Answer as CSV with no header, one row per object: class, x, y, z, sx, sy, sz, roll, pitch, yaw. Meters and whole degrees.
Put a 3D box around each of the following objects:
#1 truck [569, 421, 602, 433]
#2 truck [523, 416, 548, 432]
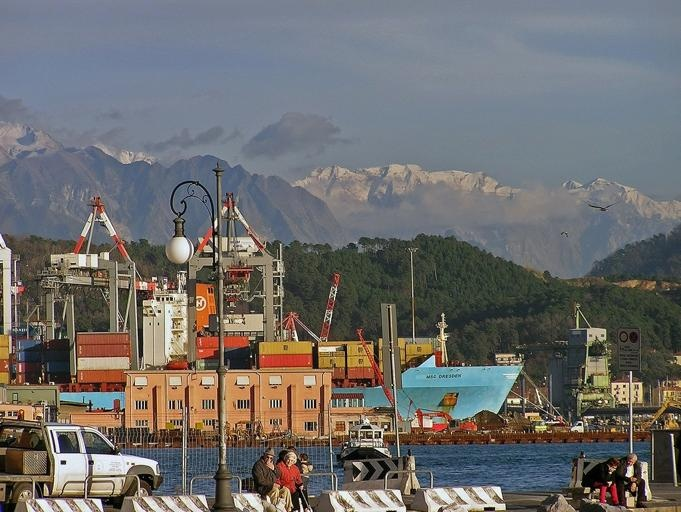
truck,48.810,33.933,419.464,5.377,2.564,2.900,3,-4,-10
truck,39.399,33.469,422.249,4.476,3.124,33.583,-5,-5,5
